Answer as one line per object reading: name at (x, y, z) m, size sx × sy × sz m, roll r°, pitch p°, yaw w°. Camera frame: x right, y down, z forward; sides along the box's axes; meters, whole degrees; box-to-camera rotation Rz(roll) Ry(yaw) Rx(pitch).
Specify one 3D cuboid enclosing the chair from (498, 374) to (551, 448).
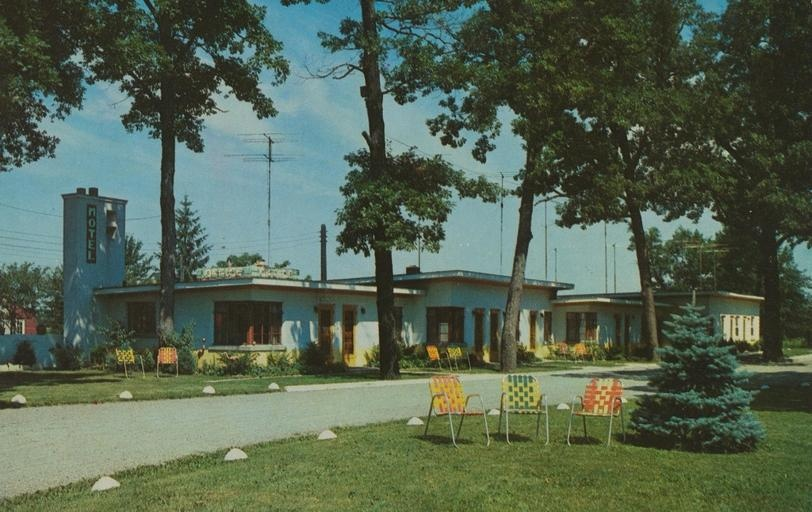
chair at (3.409, 4.620, 26.118) m, size 1.574 × 2.559 × 1.976 m, roll 1°, pitch -18°, yaw -2°

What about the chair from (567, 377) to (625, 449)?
chair at (5.680, 4.733, 26.092) m, size 1.789 × 2.638 × 1.975 m, roll -5°, pitch -12°, yaw 29°
